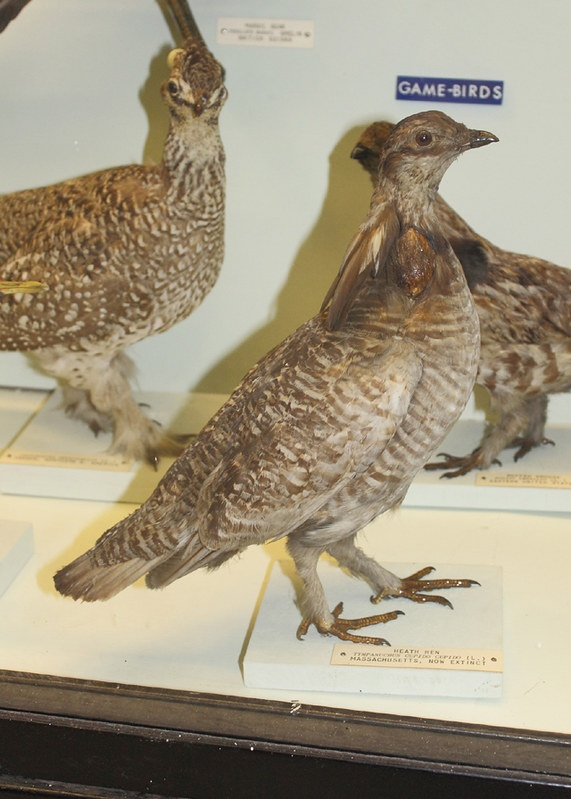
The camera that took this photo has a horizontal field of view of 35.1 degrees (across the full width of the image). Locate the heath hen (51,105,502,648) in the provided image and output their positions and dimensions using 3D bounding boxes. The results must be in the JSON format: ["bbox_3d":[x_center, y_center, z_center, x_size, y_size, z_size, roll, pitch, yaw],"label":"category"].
[{"bbox_3d":[0.008,0.030,1.500,0.876,0.869,0.248,-13,25,9],"label":"heath hen"}]
